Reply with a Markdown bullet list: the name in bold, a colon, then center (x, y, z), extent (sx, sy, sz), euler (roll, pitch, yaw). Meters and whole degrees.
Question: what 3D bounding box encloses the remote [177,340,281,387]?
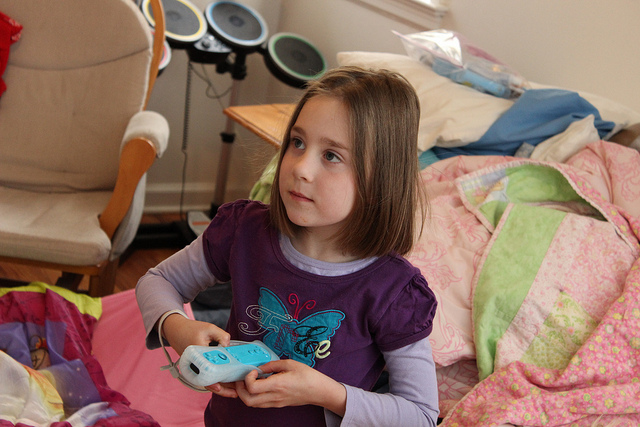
- **remote**: center (-0.199, 0.302, 1.172), extent (0.202, 0.065, 0.103), euler (0, 35, -43)
